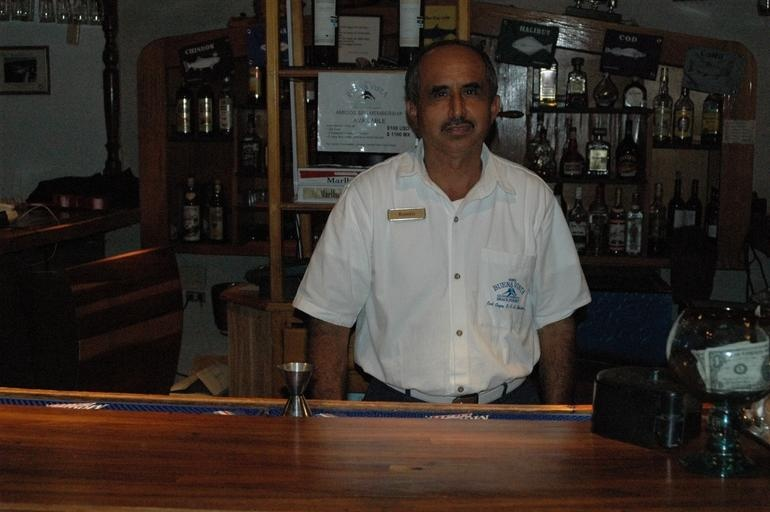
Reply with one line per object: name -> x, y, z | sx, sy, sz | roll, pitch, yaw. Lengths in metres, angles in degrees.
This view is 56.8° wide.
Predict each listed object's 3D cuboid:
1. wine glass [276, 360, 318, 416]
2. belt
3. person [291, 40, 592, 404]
wine glass -> -0.227, 0.323, 1.794 | 0.080, 0.140, 0.139 | 0, 12, -6
belt -> 0.223, 0.446, 2.356 | 0.584, 0.094, 0.163 | 2, 12, 1
person -> 0.204, -0.105, 2.393 | 0.956, 1.209, 0.598 | 4, 13, 15
